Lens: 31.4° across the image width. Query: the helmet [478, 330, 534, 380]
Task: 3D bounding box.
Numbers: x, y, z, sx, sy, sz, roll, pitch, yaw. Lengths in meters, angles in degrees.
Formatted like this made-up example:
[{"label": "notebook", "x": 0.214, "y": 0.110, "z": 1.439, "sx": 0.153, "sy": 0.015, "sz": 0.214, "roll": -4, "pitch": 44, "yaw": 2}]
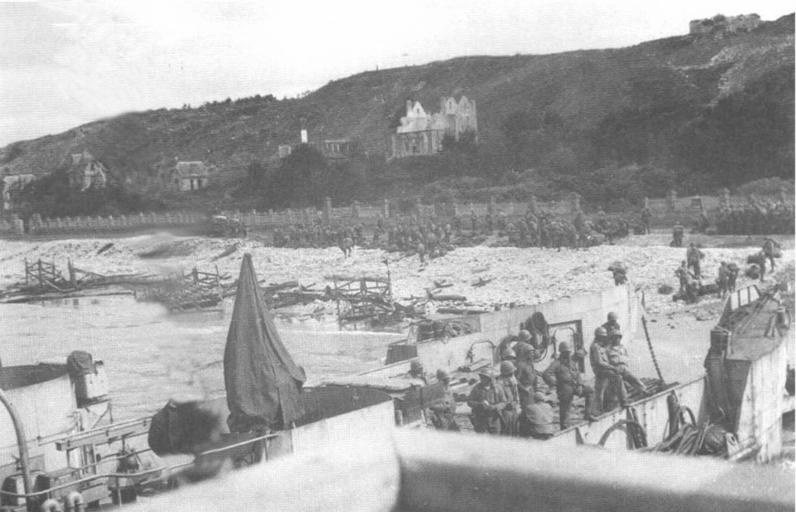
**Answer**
[{"label": "helmet", "x": 1.265, "y": 1.028, "z": 15.090, "sx": 0.438, "sy": 0.359, "sz": 0.150, "roll": -4, "pitch": 2, "yaw": -6}]
